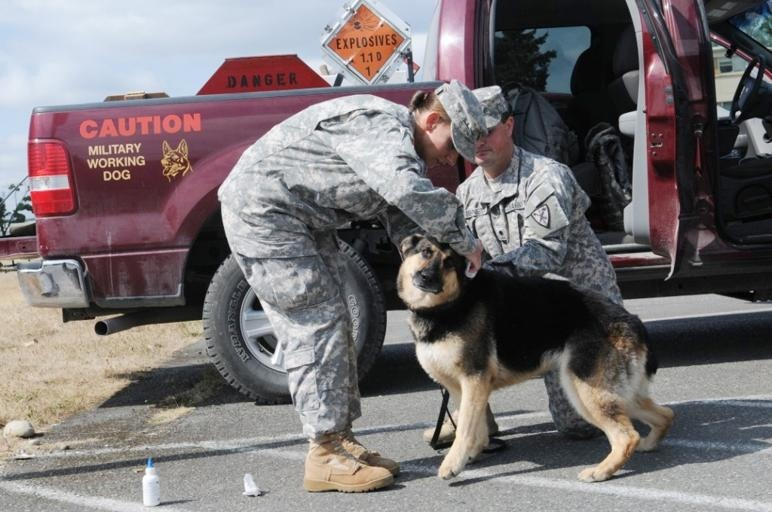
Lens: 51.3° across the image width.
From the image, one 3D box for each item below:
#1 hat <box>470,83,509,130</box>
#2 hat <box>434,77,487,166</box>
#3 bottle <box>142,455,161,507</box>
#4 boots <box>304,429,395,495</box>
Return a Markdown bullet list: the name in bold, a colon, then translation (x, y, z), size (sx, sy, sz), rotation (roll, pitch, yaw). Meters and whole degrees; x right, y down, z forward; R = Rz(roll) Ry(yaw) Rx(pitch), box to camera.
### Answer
- **hat**: translation (0.762, -1.036, 5.832), size (0.269, 0.129, 0.403), rotation (-13, 43, 24)
- **hat**: translation (0.488, -0.880, 5.298), size (0.326, 0.544, 0.220), rotation (-2, 13, 3)
- **bottle**: translation (-1.586, 1.489, 5.361), size (0.123, 0.335, 0.180), rotation (-7, 14, -17)
- **boots**: translation (-0.309, 1.433, 5.613), size (0.733, 0.473, 0.300), rotation (-2, 0, -3)
